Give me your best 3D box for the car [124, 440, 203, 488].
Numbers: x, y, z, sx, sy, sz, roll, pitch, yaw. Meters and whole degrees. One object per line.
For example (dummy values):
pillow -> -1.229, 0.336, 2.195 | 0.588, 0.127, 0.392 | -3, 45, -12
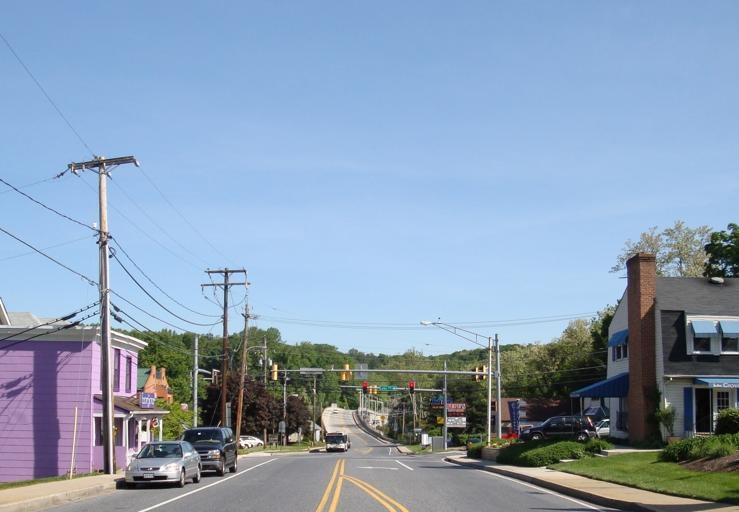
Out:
car -> -11.742, 11.906, 66.407 | 3.211, 2.407, 6.118 | -1, -6, 6

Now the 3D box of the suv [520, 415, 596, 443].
suv -> 13.972, 12.474, 83.742 | 5.129, 1.867, 1.466 | -8, -19, 22

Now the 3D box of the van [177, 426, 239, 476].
van -> -10.192, 11.903, 71.614 | 2.650, 2.756, 6.573 | -2, -4, -3

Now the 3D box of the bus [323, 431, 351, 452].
bus -> -2.884, 17.500, 108.498 | 1.589, 2.308, 4.487 | -3, -18, 6
